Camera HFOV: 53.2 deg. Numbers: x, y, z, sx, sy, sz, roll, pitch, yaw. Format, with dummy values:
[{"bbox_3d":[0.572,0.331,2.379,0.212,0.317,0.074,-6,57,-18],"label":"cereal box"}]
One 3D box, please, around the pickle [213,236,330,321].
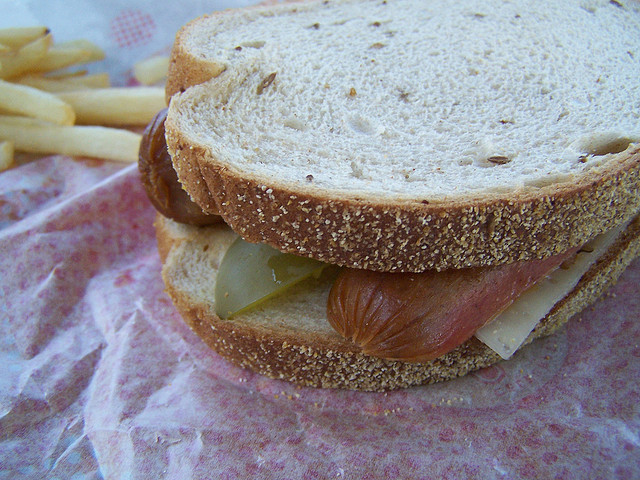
[{"bbox_3d":[-0.142,0.078,2.495,0.580,0.251,0.445,-1,17,8],"label":"pickle"}]
